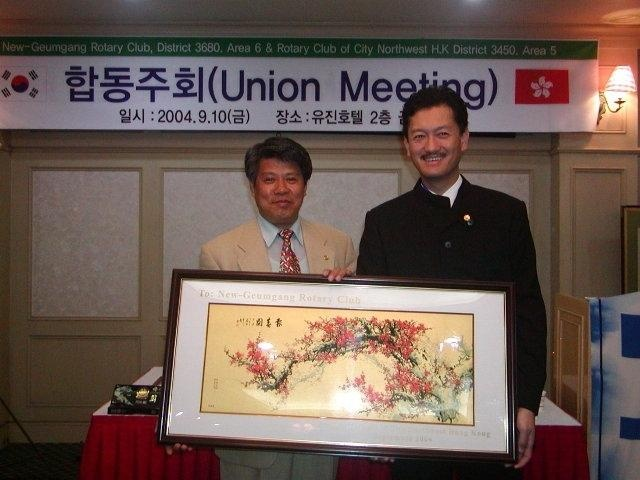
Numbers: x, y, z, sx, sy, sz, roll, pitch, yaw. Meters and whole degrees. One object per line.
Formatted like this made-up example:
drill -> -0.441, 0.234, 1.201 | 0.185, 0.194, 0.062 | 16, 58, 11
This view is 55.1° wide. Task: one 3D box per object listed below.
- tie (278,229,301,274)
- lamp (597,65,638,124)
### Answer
tie -> -0.175, 0.061, 3.566 | 0.120, 0.239, 0.143 | -2, 0, -4
lamp -> 2.536, -1.217, 5.144 | 0.415, 0.357, 0.190 | -2, 0, -5
